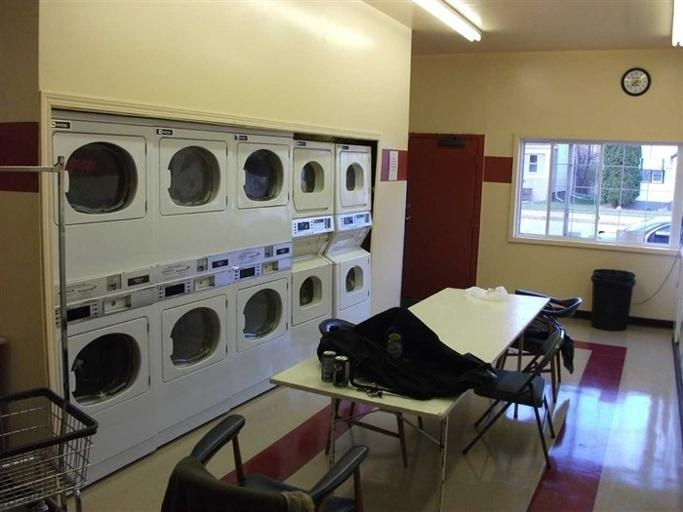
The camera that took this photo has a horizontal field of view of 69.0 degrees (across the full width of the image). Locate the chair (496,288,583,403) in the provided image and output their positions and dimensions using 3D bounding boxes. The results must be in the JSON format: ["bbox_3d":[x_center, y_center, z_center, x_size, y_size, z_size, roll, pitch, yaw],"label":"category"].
[{"bbox_3d":[1.854,0.893,4.885,0.677,0.851,0.679,8,-2,-39],"label":"chair"}]

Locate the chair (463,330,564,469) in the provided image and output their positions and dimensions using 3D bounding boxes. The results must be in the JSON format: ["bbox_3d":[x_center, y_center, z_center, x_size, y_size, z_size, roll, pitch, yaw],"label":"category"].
[{"bbox_3d":[1.355,1.055,3.929,0.770,0.993,0.686,7,9,41],"label":"chair"}]

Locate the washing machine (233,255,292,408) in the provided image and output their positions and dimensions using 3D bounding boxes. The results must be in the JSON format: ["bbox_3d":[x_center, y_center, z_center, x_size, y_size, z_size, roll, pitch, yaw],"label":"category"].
[{"bbox_3d":[-0.895,0.583,4.602,0.651,1.195,0.624,-7,20,-39],"label":"washing machine"}]

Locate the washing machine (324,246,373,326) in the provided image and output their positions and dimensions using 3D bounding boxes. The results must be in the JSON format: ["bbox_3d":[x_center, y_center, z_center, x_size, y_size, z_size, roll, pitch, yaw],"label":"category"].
[{"bbox_3d":[-0.041,0.407,5.616,0.469,0.925,0.622,10,17,38],"label":"washing machine"}]

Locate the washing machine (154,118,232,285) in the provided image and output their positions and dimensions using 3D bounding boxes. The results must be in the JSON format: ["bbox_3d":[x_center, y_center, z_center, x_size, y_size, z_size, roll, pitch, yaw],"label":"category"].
[{"bbox_3d":[-1.209,-0.530,3.833,0.659,1.072,0.618,-17,35,-42],"label":"washing machine"}]

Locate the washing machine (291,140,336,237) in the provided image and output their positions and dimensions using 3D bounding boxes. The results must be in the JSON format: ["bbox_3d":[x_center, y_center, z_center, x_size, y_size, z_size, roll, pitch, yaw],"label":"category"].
[{"bbox_3d":[-0.296,-0.660,4.834,0.204,0.889,0.700,7,13,28],"label":"washing machine"}]
